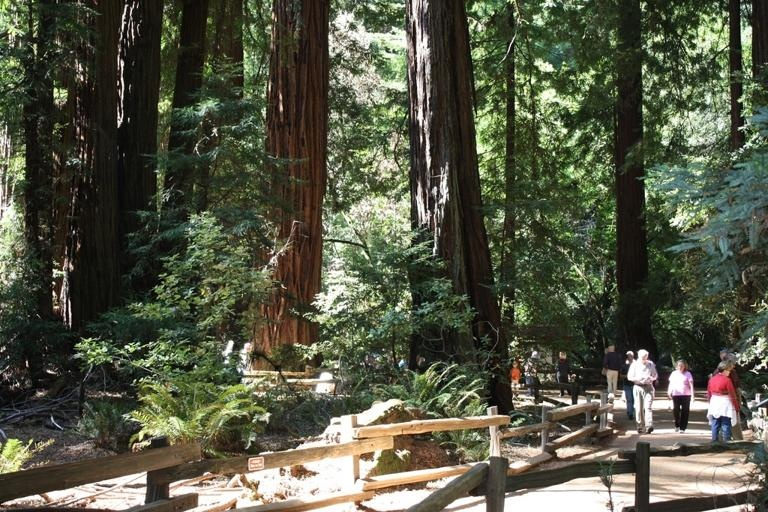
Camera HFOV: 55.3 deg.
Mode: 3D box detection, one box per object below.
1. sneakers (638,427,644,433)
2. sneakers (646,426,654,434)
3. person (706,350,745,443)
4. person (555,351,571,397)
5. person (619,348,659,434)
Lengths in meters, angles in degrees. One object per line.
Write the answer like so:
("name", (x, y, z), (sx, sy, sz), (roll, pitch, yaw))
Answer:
("sneakers", (6.801, 4.618, 19.479), (0.170, 0.155, 0.126), (-1, 1, -18))
("sneakers", (6.934, 4.549, 19.166), (0.111, 0.132, 0.195), (1, -26, -10))
("person", (7.851, 3.250, 17.019), (0.660, 1.620, 1.386), (-4, -2, 24))
("person", (6.386, 4.184, 26.141), (0.372, 1.627, 1.378), (-3, -2, 13))
("person", (6.899, 3.581, 19.593), (0.547, 1.572, 1.164), (-3, -2, 0))
